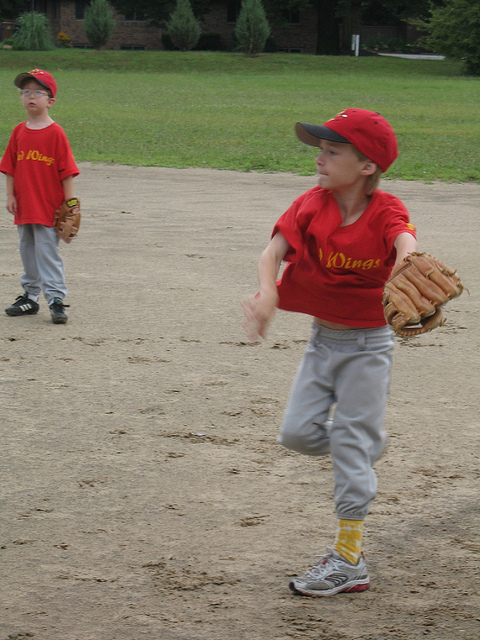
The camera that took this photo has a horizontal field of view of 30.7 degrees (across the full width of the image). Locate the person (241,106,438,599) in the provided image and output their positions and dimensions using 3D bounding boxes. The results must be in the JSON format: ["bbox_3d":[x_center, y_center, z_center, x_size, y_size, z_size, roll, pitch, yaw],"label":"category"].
[{"bbox_3d":[0.265,0.081,2.680,0.499,1.432,0.577,2,15,-2],"label":"person"}]

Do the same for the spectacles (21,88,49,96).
[{"bbox_3d":[-1.303,-1.452,5.564,0.141,0.047,0.062,2,13,-2],"label":"spectacles"}]

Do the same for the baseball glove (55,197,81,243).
[{"bbox_3d":[-1.097,-0.644,5.623,0.228,0.236,0.091,1,18,-17],"label":"baseball glove"}]

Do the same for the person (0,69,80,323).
[{"bbox_3d":[-1.286,-0.692,5.671,0.454,1.369,0.687,-9,19,-37],"label":"person"}]

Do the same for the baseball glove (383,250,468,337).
[{"bbox_3d":[0.520,-0.079,2.453,0.237,0.233,0.119,-4,16,-24],"label":"baseball glove"}]

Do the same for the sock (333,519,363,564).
[{"bbox_3d":[0.314,0.683,2.691,0.076,0.134,0.161,12,-17,-9],"label":"sock"}]

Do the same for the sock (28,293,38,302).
[{"bbox_3d":[-1.387,-0.159,5.894,0.051,0.016,0.046,26,-10,-6],"label":"sock"}]

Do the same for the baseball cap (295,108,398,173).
[{"bbox_3d":[0.323,-0.559,2.699,0.314,0.190,0.263,3,13,2],"label":"baseball cap"}]
